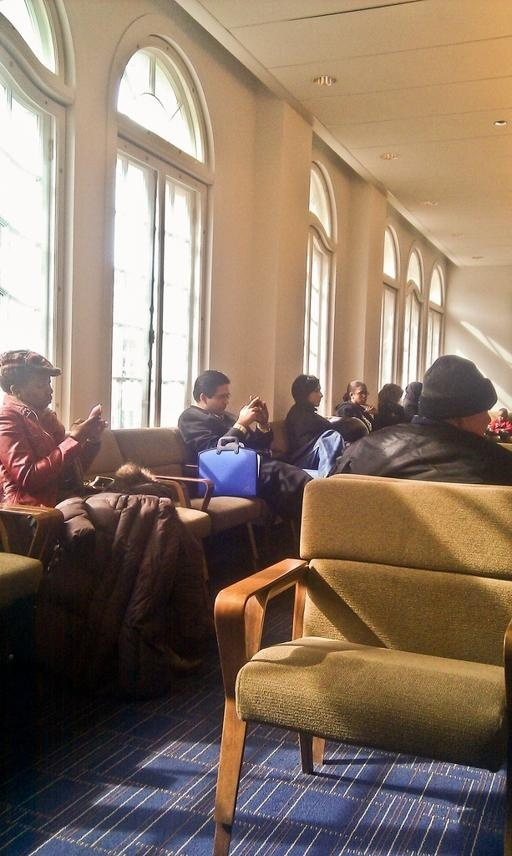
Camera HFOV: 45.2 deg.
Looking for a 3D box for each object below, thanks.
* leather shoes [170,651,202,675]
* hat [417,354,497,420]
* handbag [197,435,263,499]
[{"bbox_3d":[-0.256,0.835,2.198,0.045,0.065,0.144,6,-7,36],"label":"leather shoes"},{"bbox_3d":[0.577,-0.117,1.802,0.210,0.166,0.159,-13,3,19],"label":"hat"},{"bbox_3d":[-0.165,0.241,3.629,0.344,0.377,0.129,0,3,4],"label":"handbag"}]
